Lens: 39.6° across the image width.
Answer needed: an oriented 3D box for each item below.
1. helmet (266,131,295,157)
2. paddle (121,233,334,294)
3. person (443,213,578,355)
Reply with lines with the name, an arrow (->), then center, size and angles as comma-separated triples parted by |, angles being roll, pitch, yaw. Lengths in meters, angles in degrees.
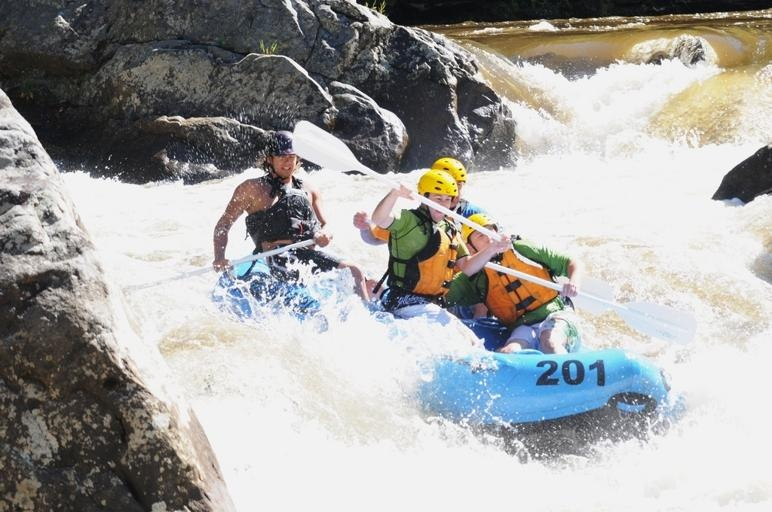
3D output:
helmet -> -1.361, -1.475, 14.117 | 0.295, 0.404, 0.220 | -11, 100, -30
paddle -> -2.126, 0.129, 14.462 | 2.972, 0.207, 0.380 | -13, 89, -5
person -> 1.712, 0.414, 13.888 | 1.421, 0.711, 1.810 | -16, 89, 0
